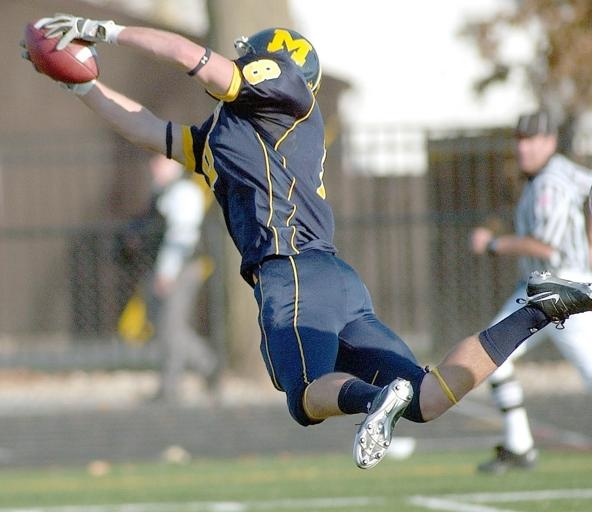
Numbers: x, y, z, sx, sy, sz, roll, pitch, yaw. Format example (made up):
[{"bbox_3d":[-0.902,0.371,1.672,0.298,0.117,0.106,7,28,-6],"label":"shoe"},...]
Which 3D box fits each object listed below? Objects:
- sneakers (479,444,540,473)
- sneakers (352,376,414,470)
[{"bbox_3d":[1.534,1.429,8.567,0.500,0.239,0.169,-5,6,38],"label":"sneakers"},{"bbox_3d":[0.441,0.858,6.354,0.205,0.563,0.220,38,-5,-7],"label":"sneakers"}]
